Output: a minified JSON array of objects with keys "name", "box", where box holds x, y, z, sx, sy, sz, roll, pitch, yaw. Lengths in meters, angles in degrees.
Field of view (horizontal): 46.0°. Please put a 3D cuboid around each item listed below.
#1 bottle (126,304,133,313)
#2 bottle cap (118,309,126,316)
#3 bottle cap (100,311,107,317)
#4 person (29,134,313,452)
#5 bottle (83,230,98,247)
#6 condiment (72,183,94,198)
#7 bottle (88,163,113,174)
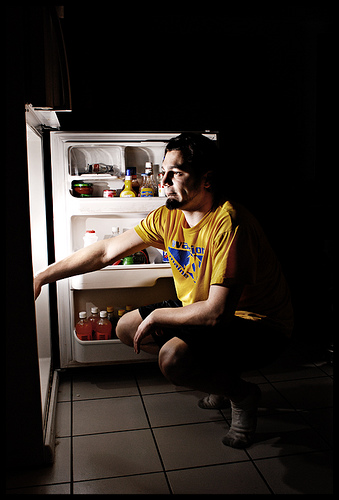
[{"name":"bottle","box":[-0.197,0.296,2.012,0.035,0.037,0.035,0,7,0]},{"name":"bottle cap","box":[-0.241,0.316,2.015,0.023,0.020,0.029,-1,9,1]},{"name":"bottle cap","box":[-0.323,0.314,1.957,0.024,0.016,0.024,12,13,17]},{"name":"person","box":[-0.026,0.109,1.618,0.970,1.072,0.690,6,4,29]},{"name":"bottle","box":[-0.387,-0.059,1.949,0.071,0.106,0.070,0,-3,0]},{"name":"condiment","box":[-0.423,-0.294,1.976,0.087,0.062,0.068,-1,4,-9]},{"name":"bottle","box":[-0.352,-0.409,2.006,0.155,0.066,0.049,-2,3,-21]}]
